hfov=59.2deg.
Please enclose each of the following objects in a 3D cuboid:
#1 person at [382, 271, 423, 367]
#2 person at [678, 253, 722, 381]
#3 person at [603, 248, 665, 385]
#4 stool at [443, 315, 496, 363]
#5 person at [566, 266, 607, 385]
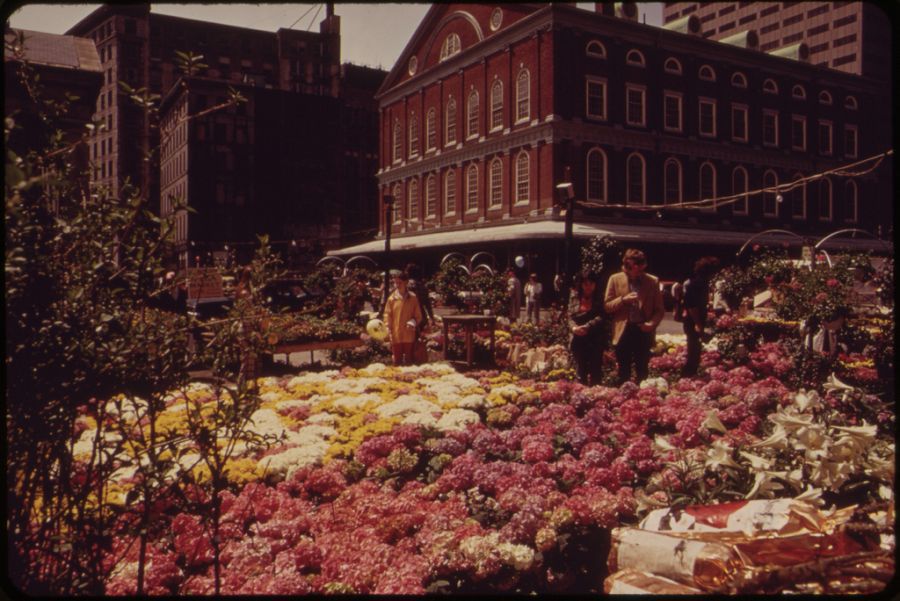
[{"bbox_3d":[-0.723,0.371,12.955,0.623,1.303,0.621,1,-1,-14],"label":"person"},{"bbox_3d":[3.756,0.199,11.958,0.496,1.785,1.330,0,-1,18],"label":"person"},{"bbox_3d":[2.434,0.209,10.523,0.711,1.760,0.551,2,-2,-39],"label":"person"},{"bbox_3d":[0.422,0.613,13.782,1.237,0.914,1.248,1,1,10],"label":"stool"},{"bbox_3d":[1.912,0.383,10.932,0.533,1.497,0.677,1,-1,8],"label":"person"}]
